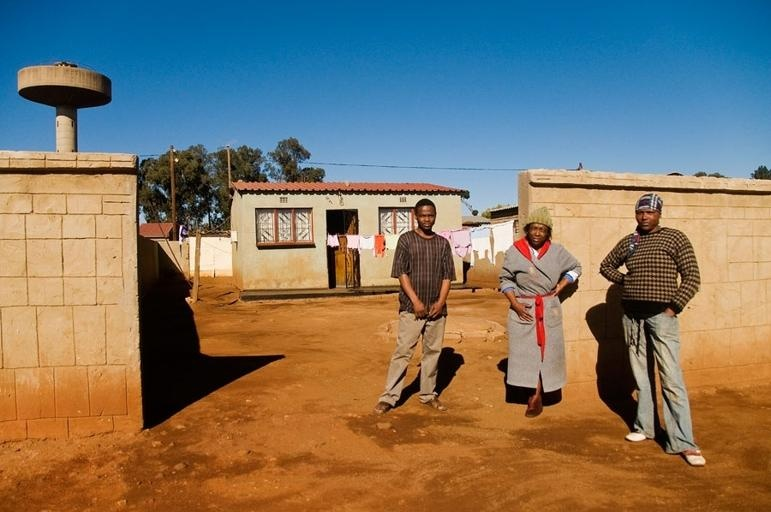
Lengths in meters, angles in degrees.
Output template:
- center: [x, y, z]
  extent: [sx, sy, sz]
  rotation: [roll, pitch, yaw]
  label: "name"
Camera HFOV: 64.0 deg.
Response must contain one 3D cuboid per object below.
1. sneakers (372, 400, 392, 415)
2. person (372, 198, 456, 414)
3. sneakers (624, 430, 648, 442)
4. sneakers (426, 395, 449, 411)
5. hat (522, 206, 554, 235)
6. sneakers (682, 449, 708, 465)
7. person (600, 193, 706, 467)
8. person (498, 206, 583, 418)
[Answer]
- center: [-0.023, 1.793, 7.274]
  extent: [0.102, 0.098, 0.231]
  rotation: [-2, -11, 26]
  label: "sneakers"
- center: [0.403, 0.605, 7.277]
  extent: [0.821, 2.524, 0.966]
  rotation: [3, 14, 17]
  label: "person"
- center: [2.628, 1.906, 6.523]
  extent: [0.187, 0.059, 0.103]
  rotation: [3, -2, -12]
  label: "sneakers"
- center: [0.603, 1.763, 7.421]
  extent: [0.114, 0.138, 0.319]
  rotation: [-1, 2, -42]
  label: "sneakers"
- center: [1.702, -0.383, 6.916]
  extent: [0.280, 0.293, 0.301]
  rotation: [4, -5, 2]
  label: "hat"
- center: [3.054, 2.002, 6.106]
  extent: [0.201, 0.129, 0.143]
  rotation: [5, 14, 23]
  label: "sneakers"
- center: [2.830, 0.682, 6.431]
  extent: [0.788, 2.551, 1.367]
  rotation: [-1, 13, -2]
  label: "person"
- center: [1.736, 0.669, 7.034]
  extent: [0.847, 2.394, 0.751]
  rotation: [-1, 14, -2]
  label: "person"
